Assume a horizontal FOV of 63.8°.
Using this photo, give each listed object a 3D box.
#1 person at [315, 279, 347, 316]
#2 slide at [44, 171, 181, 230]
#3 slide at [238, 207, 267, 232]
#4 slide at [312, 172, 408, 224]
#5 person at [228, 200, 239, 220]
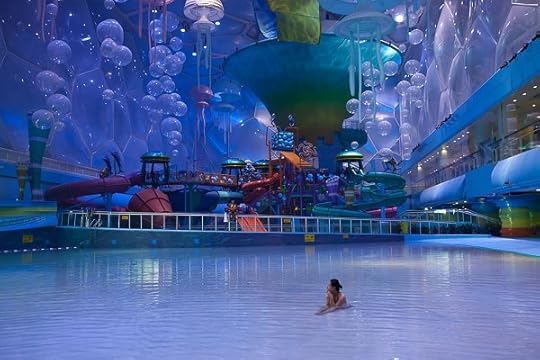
[{"bbox_3d":[1.120,2.135,8.009,0.726,0.550,0.337,3,-7,-38],"label":"person"},{"bbox_3d":[-9.528,0.731,25.637,6.688,2.435,3.091,0,-6,-15],"label":"slide"},{"bbox_3d":[-0.954,2.035,20.647,0.676,0.646,1.293,-5,31,-15],"label":"slide"},{"bbox_3d":[6.647,1.005,30.941,6.242,3.213,4.676,-14,-4,16],"label":"slide"},{"bbox_3d":[-1.918,1.558,22.213,0.624,1.209,0.425,-1,-24,-3],"label":"person"}]
